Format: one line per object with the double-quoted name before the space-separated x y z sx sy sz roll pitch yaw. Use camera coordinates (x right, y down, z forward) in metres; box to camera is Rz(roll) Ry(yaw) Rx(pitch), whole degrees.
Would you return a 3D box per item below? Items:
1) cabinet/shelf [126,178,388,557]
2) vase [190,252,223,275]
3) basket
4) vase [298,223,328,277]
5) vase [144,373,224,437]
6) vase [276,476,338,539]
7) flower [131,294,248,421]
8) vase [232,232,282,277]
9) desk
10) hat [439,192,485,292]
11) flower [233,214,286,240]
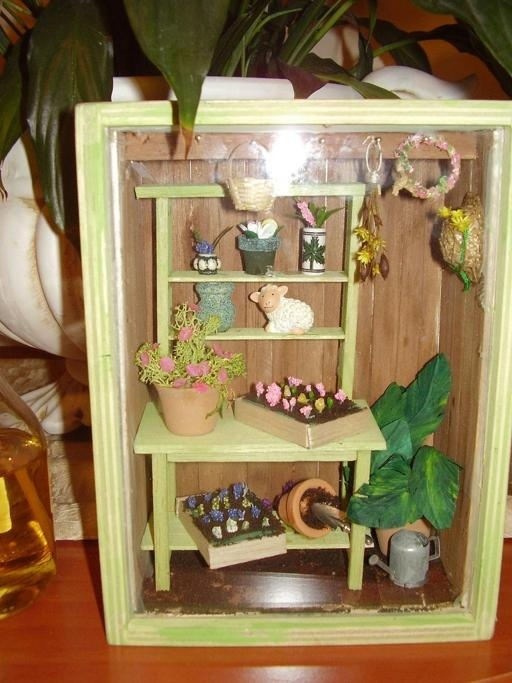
"cabinet/shelf" 0.004 0.073 1.213 0.540 0.738 0.352 0 11 -8
"vase" -0.099 -0.156 1.202 0.063 0.039 0.040 2 26 -4
"basket" -0.028 -0.270 0.983 0.088 0.099 0.084 -3 16 -13
"vase" 0.112 -0.180 1.193 0.082 0.125 0.079 2 7 8
"vase" -0.127 0.118 1.134 0.113 0.073 0.109 1 -1 6
"vase" 0.112 0.356 1.317 0.115 0.113 0.097 4 -10 -34
"flower" -0.134 0.051 1.249 0.219 0.264 0.241 1 -3 0
"vase" 0.007 -0.172 1.168 0.084 0.066 0.082 8 16 25
"desk" -0.001 0.234 1.224 0.670 0.413 0.316 0 4 -3
"hat" 0.355 -0.177 1.031 0.066 0.161 0.114 -8 27 5
"flower" 0.007 -0.214 1.136 0.052 0.022 0.047 16 32 28
